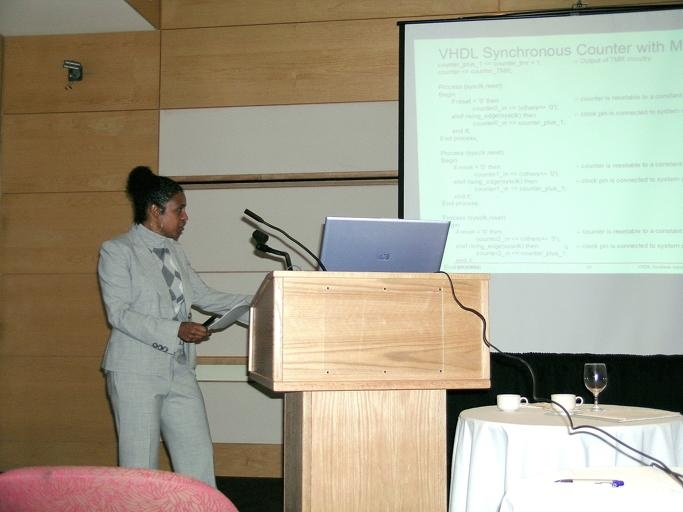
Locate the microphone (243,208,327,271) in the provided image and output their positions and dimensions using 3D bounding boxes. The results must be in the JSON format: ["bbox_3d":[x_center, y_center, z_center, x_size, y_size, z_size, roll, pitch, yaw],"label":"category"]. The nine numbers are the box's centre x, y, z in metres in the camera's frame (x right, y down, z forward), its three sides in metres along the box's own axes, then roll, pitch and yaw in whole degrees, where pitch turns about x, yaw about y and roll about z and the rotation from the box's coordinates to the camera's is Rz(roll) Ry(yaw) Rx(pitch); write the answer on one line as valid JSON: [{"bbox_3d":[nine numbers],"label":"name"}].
[{"bbox_3d":[-0.340,-0.093,5.511,0.152,0.084,0.883,-36,32,-16],"label":"microphone"}]

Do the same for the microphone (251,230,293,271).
[{"bbox_3d":[-0.323,-0.008,4.247,0.196,0.275,0.088,-7,17,-15],"label":"microphone"}]

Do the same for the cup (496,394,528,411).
[{"bbox_3d":[0.901,0.767,4.599,0.126,0.062,0.097,2,-12,8],"label":"cup"}]

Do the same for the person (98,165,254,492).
[{"bbox_3d":[-0.979,0.375,4.906,0.734,1.783,0.607,1,-2,-20],"label":"person"}]

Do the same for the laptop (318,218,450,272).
[{"bbox_3d":[0.196,-0.048,4.097,0.592,0.238,0.134,1,-2,-11],"label":"laptop"}]

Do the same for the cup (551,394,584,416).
[{"bbox_3d":[1.166,0.766,4.518,0.154,0.086,0.113,4,-9,-2],"label":"cup"}]
